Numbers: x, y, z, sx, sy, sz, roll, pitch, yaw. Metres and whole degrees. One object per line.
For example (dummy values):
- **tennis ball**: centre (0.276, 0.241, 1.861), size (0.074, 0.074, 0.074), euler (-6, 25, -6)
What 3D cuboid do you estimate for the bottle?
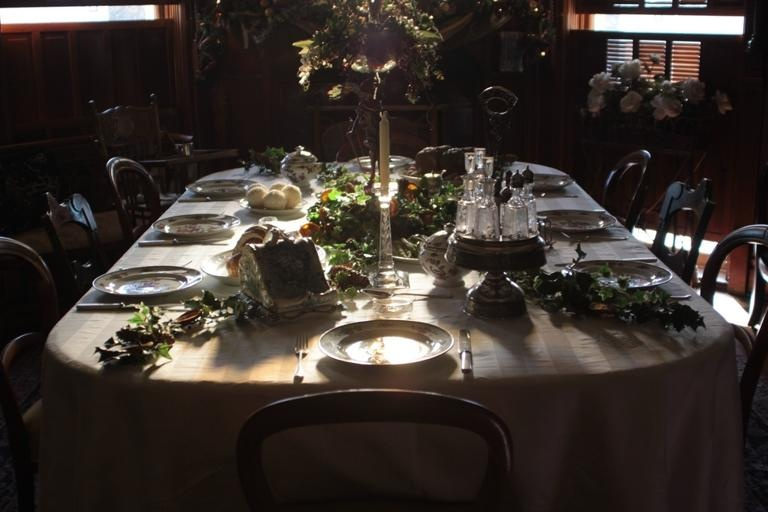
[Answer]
- **bottle**: centre (0.270, -0.161, 1.393), size (0.258, 0.248, 0.248), euler (-2, 9, -7)
